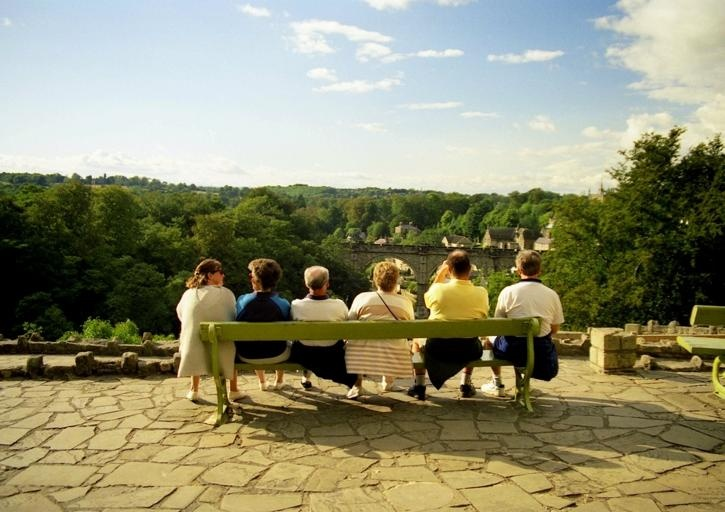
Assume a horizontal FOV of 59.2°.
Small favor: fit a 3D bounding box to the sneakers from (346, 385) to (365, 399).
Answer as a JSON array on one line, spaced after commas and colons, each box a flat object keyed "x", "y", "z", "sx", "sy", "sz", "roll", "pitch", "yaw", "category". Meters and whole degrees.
[{"x": -0.121, "y": 2.017, "z": 9.522, "sx": 0.148, "sy": 0.107, "sz": 0.269, "roll": 11, "pitch": 17, "yaw": 28, "category": "sneakers"}]

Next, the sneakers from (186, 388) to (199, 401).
[{"x": -2.516, "y": 2.040, "z": 9.455, "sx": 0.108, "sy": 0.113, "sz": 0.273, "roll": 0, "pitch": 1, "yaw": -15, "category": "sneakers"}]

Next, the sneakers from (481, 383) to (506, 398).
[{"x": 1.981, "y": 2.013, "z": 9.713, "sx": 0.165, "sy": 0.164, "sz": 0.384, "roll": -6, "pitch": 9, "yaw": -42, "category": "sneakers"}]

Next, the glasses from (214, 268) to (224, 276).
[{"x": -2.124, "y": 0.232, "z": 9.401, "sx": 0.115, "sy": 0.112, "sz": 0.055, "roll": 18, "pitch": 43, "yaw": -16, "category": "glasses"}]
